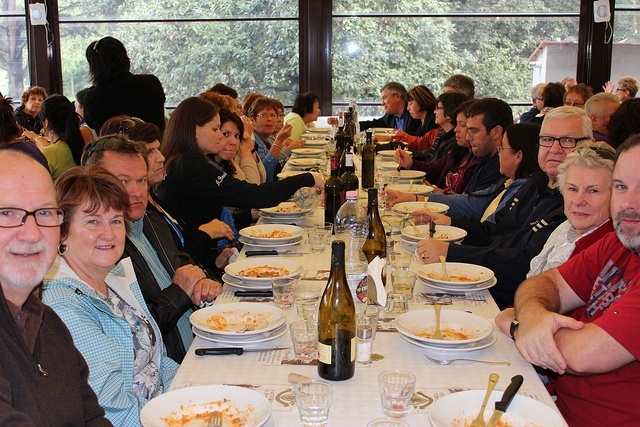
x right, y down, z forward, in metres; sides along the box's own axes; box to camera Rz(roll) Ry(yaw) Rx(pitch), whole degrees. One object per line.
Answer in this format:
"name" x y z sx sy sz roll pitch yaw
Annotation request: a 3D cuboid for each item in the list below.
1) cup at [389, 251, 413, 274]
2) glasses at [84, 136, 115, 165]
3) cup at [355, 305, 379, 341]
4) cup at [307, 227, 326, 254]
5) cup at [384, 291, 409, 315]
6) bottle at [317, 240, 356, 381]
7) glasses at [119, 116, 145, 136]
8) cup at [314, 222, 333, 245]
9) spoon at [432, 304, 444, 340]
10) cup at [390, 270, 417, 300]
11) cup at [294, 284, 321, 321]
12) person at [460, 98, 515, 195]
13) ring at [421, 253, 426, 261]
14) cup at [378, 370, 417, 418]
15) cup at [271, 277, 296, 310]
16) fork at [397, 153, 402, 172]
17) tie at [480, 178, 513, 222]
"cup" 0.366 0.218 2.343 0.092 0.074 0.085 -3 10 1
"glasses" -1.097 -0.298 2.578 0.151 0.047 0.153 -33 1 24
"cup" 0.170 0.391 1.848 0.107 0.121 0.109 0 -1 0
"cup" -0.012 0.139 2.781 0.120 0.133 0.119 0 11 0
"cup" 0.322 0.369 2.146 0.091 0.089 0.092 0 3 0
"bottle" 0.057 0.370 1.735 0.131 0.351 0.141 0 11 0
"glasses" -1.155 -0.572 3.114 0.038 0.131 0.129 39 22 24
"cup" 0.014 0.102 2.806 0.114 0.120 0.109 0 7 0
"spoon" 0.441 0.398 1.886 0.030 0.020 0.148 4 44 6
"cup" 0.358 0.304 2.191 0.104 0.115 0.111 -1 0 0
"cup" -0.050 0.346 2.037 0.114 0.127 0.114 0 7 0
"person" 1.365 -0.548 4.160 0.404 0.793 0.823 2 9 3
"ring" 0.528 0.215 2.603 0.028 0.038 0.009 2 0 2
"cup" 0.235 0.560 1.573 0.114 0.107 0.124 1 11 0
"cup" -0.152 0.341 2.232 0.113 0.122 0.114 1 5 0
"fork" 0.797 -0.530 5.150 0.053 0.271 0.055 -1 -11 4
"tie" 1.368 -0.068 3.737 0.084 0.321 0.238 40 -7 -7
